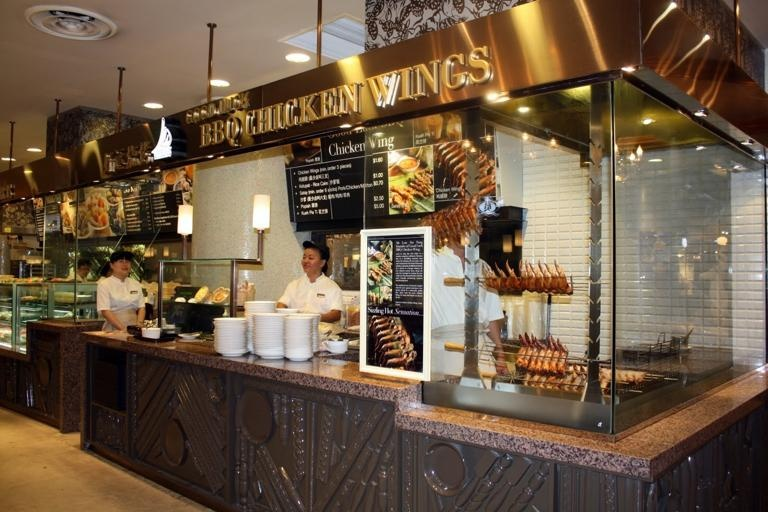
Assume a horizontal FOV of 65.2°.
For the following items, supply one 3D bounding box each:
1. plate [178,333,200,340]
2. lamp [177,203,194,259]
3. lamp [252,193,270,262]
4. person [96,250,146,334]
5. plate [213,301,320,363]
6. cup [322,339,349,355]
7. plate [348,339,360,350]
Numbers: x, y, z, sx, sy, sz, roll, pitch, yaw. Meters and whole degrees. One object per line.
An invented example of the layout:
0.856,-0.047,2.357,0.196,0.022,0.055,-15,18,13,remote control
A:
-1.636,0.685,5.040,0.264,0.061,0.045,-2,0,42,plate
-1.948,-0.253,5.913,0.133,0.529,0.742,-2,0,-19,lamp
-1.067,-0.237,5.241,0.145,0.578,0.141,6,11,14,lamp
-2.806,0.362,6.421,0.462,0.804,0.727,-2,0,-24,person
-0.879,0.605,4.528,0.796,0.360,0.290,-2,0,20,plate
-0.374,0.689,4.464,0.146,0.064,0.114,-3,-5,14,cup
-0.235,0.699,4.636,0.086,0.082,0.171,-2,0,1,plate
